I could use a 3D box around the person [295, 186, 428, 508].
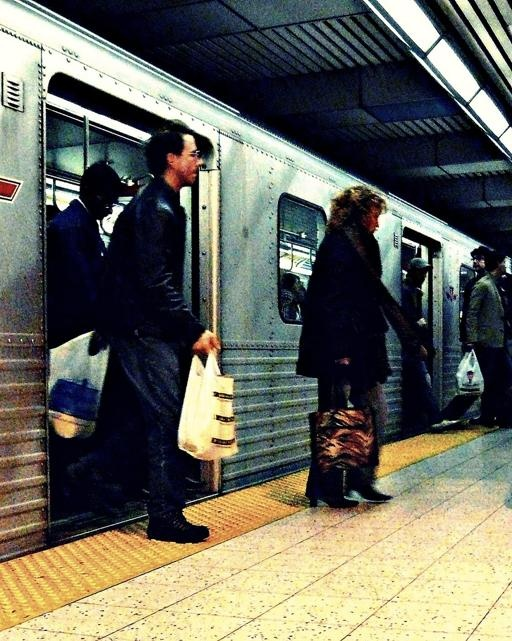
[{"bbox_3d":[0.582,0.017,3.943,0.681,1.744,0.405,0,-6,-1],"label":"person"}]

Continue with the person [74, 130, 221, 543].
[{"bbox_3d":[-0.628,0.087,3.544,0.681,2.029,1.297,1,-6,-15],"label":"person"}]

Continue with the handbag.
[{"bbox_3d":[0.519,0.733,3.999,0.380,0.347,0.351,-2,-9,-2],"label":"handbag"}]

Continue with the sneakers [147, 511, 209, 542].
[{"bbox_3d":[-0.377,0.984,3.149,0.352,0.156,0.114,2,0,-2],"label":"sneakers"}]

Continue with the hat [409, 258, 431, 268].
[{"bbox_3d":[1.893,-0.654,7.577,0.173,0.089,0.125,-7,-7,31],"label":"hat"}]

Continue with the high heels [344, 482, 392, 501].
[{"bbox_3d":[0.679,1.098,4.172,0.354,0.137,0.119,5,-2,5],"label":"high heels"}]
